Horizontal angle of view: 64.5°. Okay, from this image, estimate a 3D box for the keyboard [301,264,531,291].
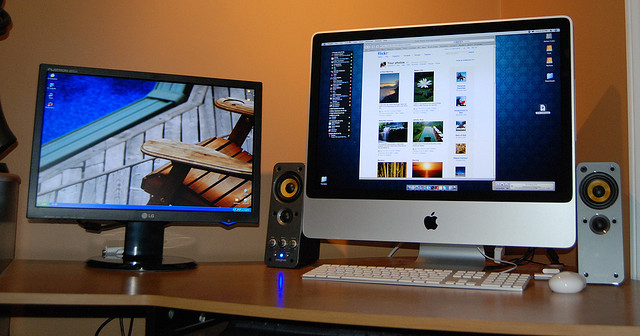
[{"bbox_3d":[0.400,0.447,2.118,0.931,0.050,0.178,2,1,7],"label":"keyboard"}]

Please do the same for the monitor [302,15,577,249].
[{"bbox_3d":[0.556,-0.138,2.233,1.229,0.816,0.374,0,-10,12],"label":"monitor"}]

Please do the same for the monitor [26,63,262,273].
[{"bbox_3d":[-0.774,-0.006,2.389,1.177,0.877,0.477,4,9,12],"label":"monitor"}]

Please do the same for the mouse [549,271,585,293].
[{"bbox_3d":[0.984,0.453,2.005,0.076,0.035,0.071,0,15,20],"label":"mouse"}]
